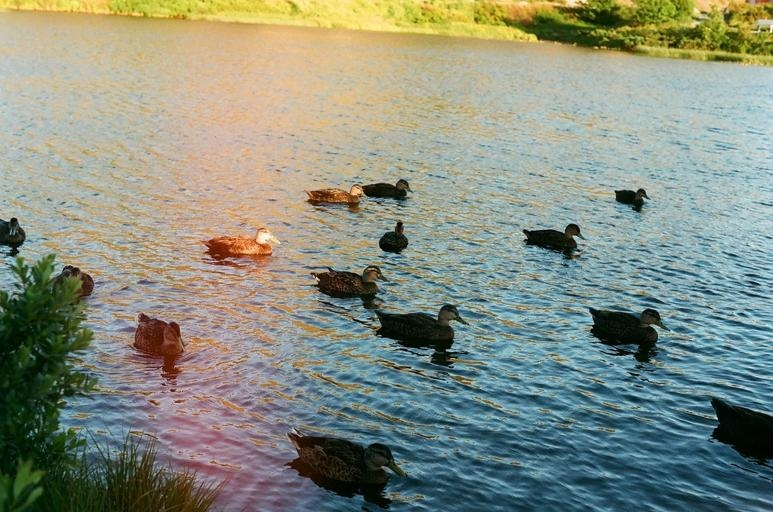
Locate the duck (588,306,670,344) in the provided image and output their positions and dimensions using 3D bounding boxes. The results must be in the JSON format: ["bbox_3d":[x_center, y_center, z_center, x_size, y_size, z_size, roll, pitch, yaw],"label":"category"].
[{"bbox_3d":[9.123,2.535,33.537,3.037,1.391,1.177,15,9,6],"label":"duck"}]

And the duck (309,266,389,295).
[{"bbox_3d":[-1.424,0.950,34.795,2.589,1.093,0.901,4,29,-5],"label":"duck"}]

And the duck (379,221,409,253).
[{"bbox_3d":[0.397,-0.877,39.035,1.298,1.077,1.212,7,28,-1],"label":"duck"}]

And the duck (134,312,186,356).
[{"bbox_3d":[-8.034,2.725,30.250,2.307,1.291,1.446,4,-5,30],"label":"duck"}]

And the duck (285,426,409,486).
[{"bbox_3d":[-1.210,6.066,26.179,3.187,1.283,0.802,10,30,8],"label":"duck"}]
